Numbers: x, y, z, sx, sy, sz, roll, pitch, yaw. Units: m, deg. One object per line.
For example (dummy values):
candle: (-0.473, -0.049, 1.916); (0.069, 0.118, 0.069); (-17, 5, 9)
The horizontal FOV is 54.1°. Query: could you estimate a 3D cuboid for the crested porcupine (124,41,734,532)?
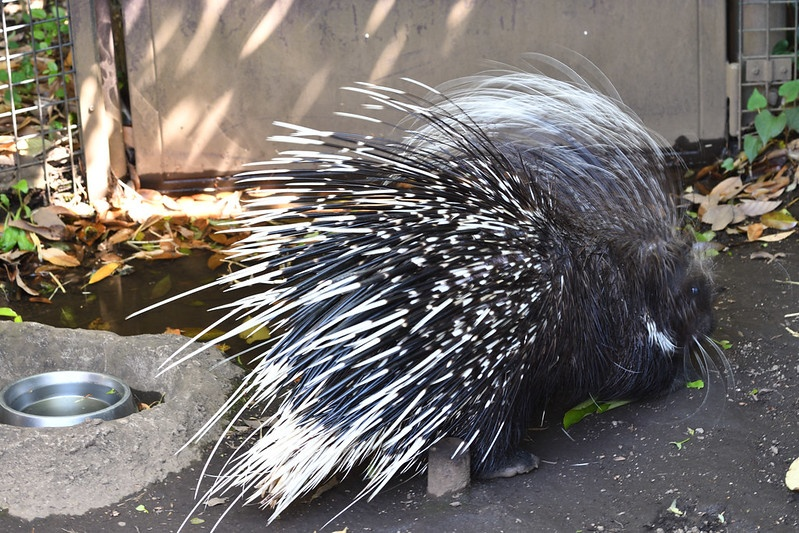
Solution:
crested porcupine: (0.214, -0.012, 2.533); (2.318, 1.129, 0.983); (-12, 23, -1)
